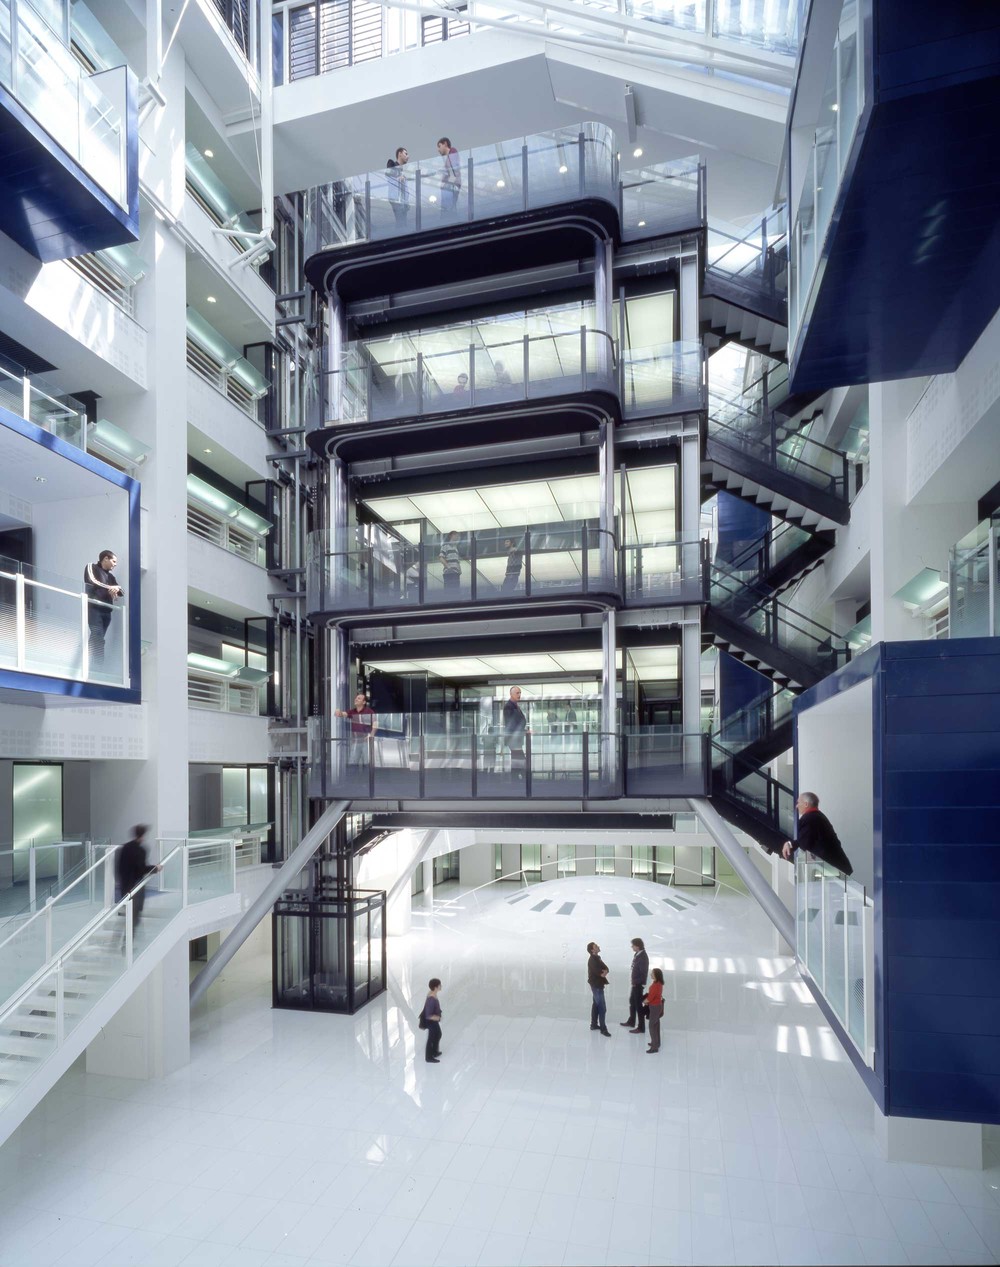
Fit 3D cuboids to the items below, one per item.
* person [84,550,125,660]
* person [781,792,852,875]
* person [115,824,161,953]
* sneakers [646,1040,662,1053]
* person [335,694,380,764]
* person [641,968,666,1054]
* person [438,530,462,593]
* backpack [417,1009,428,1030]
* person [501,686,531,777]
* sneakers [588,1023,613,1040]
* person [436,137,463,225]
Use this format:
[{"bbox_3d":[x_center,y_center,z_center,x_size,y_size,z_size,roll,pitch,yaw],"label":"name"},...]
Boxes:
[{"bbox_3d":[-4.608,-0.268,12.978,0.325,1.311,1.074,-1,-2,-3],"label":"person"},{"bbox_3d":[3.076,1.898,10.841,0.530,0.725,0.852,0,-2,-19],"label":"person"},{"bbox_3d":[-4.213,2.962,12.836,0.166,1.123,0.689,-1,-2,13],"label":"person"},{"bbox_3d":[2.141,5.741,15.522,0.180,0.126,0.255,-1,-2,5],"label":"sneakers"},{"bbox_3d":[-2.245,1.639,17.581,0.763,0.809,0.587,-1,-2,12],"label":"person"},{"bbox_3d":[2.215,5.276,16.115,0.279,1.234,1.442,-1,-2,7],"label":"person"},{"bbox_3d":[-0.761,-1.102,17.313,0.287,0.920,0.172,-1,-1,7],"label":"person"},{"bbox_3d":[-1.016,5.197,15.035,0.166,0.312,0.060,-3,-7,43],"label":"backpack"},{"bbox_3d":[0.245,1.516,16.444,0.419,1.036,0.191,-2,-2,38],"label":"person"},{"bbox_3d":[1.496,5.854,16.449,0.339,0.194,0.114,-5,-3,33],"label":"sneakers"},{"bbox_3d":[-0.807,-7.207,17.962,0.325,1.084,0.132,-1,-1,-4],"label":"person"}]
